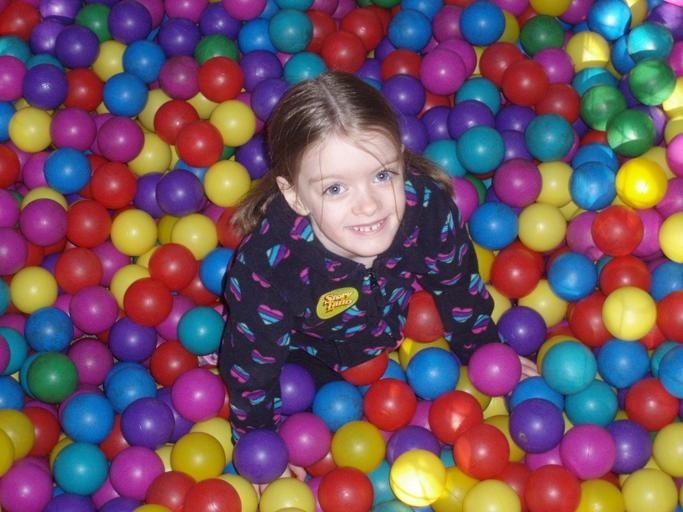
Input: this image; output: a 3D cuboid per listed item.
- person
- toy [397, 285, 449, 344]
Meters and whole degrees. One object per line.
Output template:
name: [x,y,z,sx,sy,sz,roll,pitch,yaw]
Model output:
person: [0.150,0.077,3.334,1.225,1.080,1.602,-18,-16,-4]
toy: [0.394,0.311,3.668,0.190,0.238,0.213,5,35,12]
